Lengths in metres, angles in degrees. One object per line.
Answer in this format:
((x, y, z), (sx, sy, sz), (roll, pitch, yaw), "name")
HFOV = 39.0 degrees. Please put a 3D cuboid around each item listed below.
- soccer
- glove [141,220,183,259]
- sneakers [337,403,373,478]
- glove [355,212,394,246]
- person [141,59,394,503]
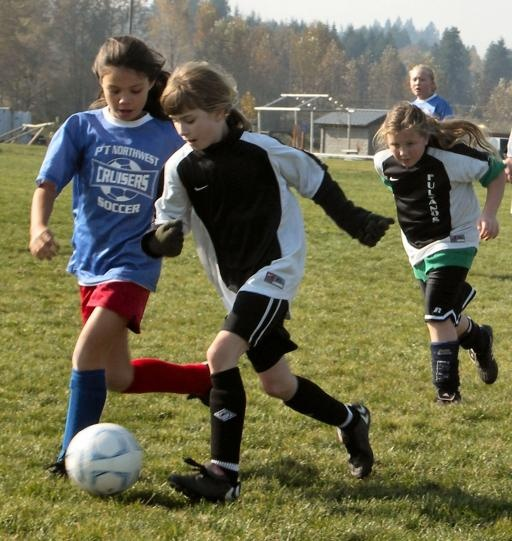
((-0.617, 0.810, 2.987), (0.330, 0.313, 0.354), (-14, -22, 35), "soccer")
((-0.394, -0.130, 3.064), (0.174, 0.188, 0.269), (2, 9, -7), "glove")
((0.485, 0.787, 3.398), (0.126, 0.336, 0.204), (-10, -13, 35), "sneakers")
((0.496, -0.172, 3.013), (0.143, 0.133, 0.055), (32, 12, 19), "glove")
((0.050, 0.043, 3.085), (1.003, 1.785, 0.555), (0, 10, -21), "person")
